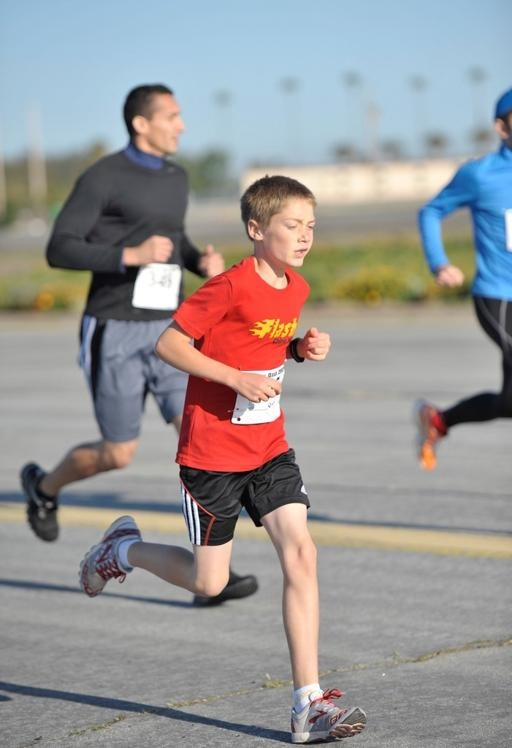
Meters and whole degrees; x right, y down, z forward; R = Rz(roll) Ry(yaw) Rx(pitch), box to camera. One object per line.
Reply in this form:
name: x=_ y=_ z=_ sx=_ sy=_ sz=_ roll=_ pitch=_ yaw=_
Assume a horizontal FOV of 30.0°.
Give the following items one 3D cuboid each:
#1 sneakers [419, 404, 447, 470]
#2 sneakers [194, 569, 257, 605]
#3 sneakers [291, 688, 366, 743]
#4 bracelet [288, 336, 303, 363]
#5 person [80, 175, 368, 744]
sneakers: x=0.872 y=0.315 z=4.743 sx=0.131 sy=0.313 sz=0.146 roll=0 pitch=14 yaw=6
sneakers: x=-0.075 y=0.814 z=3.681 sx=0.307 sy=0.111 sz=0.099 roll=-5 pitch=-6 yaw=-37
sneakers: x=0.157 y=0.811 z=2.255 sx=0.232 sy=0.111 sz=0.084 roll=-21 pitch=-23 yaw=32
bracelet: x=0.115 y=-0.066 z=2.836 sx=0.064 sy=0.061 sz=0.025 roll=2 pitch=12 yaw=3
person: x=-0.050 y=0.179 z=2.606 sx=0.600 sy=1.425 sz=1.137 roll=-9 pitch=7 yaw=-21
